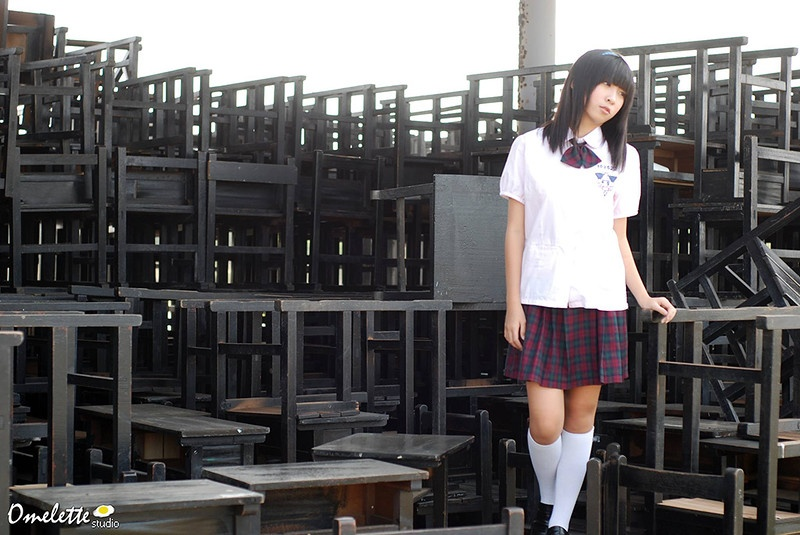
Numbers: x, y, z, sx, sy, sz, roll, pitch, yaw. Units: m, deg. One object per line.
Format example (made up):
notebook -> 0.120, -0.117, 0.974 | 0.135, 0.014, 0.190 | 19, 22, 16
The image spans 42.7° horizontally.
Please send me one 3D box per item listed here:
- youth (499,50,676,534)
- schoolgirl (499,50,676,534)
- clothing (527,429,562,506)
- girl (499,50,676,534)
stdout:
youth -> 0.952, 0.128, 5.598 | 0.794, 2.601, 0.352 | -1, -1, 4
schoolgirl -> 0.952, 0.128, 5.598 | 0.794, 2.601, 0.352 | -1, -1, 4
clothing -> 0.787, 1.202, 5.605 | 0.140, 0.283, 0.128 | 2, -44, -8
girl -> 0.952, 0.128, 5.598 | 0.790, 2.601, 0.358 | -1, -1, 5
